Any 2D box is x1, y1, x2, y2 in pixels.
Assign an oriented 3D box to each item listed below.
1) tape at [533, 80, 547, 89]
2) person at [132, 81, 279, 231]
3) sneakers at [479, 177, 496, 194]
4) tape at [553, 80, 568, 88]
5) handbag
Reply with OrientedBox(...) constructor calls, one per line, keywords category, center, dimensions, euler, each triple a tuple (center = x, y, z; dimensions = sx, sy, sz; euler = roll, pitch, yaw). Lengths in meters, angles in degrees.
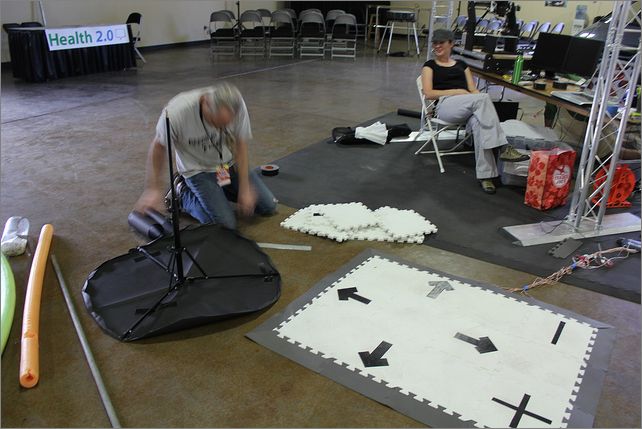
OrientedBox(category="tape", center=(2.562, -1.514, 4.980), dimensions=(0.128, 0.065, 0.110), euler=(-8, 27, -1))
OrientedBox(category="person", center=(-0.902, -0.453, 3.576), dimensions=(1.000, 1.278, 0.897), euler=(-1, 25, -5))
OrientedBox(category="sneakers", center=(1.810, -0.308, 4.581), dimensions=(0.106, 0.098, 0.254), euler=(-18, 28, -1))
OrientedBox(category="tape", center=(2.801, -1.512, 4.984), dimensions=(0.125, 0.054, 0.115), euler=(-12, 22, -24))
OrientedBox(category="handbag", center=(2.280, -0.342, 4.214), dimensions=(0.443, 0.579, 0.292), euler=(6, 27, 10))
